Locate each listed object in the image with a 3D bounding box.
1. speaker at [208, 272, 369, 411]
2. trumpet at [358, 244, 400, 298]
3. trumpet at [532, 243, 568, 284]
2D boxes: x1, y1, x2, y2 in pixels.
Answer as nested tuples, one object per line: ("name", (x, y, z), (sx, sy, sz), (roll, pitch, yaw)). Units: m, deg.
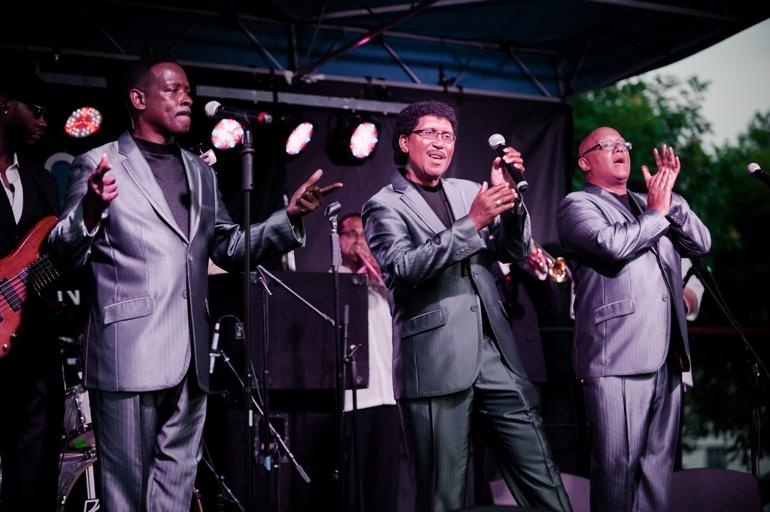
("speaker", (-0.897, 0.689, 6.538), (1.111, 1.191, 1.120), (3, -5, -33))
("trumpet", (-0.084, 0.127, 7.454), (0.273, 0.611, 0.313), (2, -4, -20))
("trumpet", (1.568, 0.088, 7.053), (0.296, 0.127, 0.304), (29, 7, -22))
